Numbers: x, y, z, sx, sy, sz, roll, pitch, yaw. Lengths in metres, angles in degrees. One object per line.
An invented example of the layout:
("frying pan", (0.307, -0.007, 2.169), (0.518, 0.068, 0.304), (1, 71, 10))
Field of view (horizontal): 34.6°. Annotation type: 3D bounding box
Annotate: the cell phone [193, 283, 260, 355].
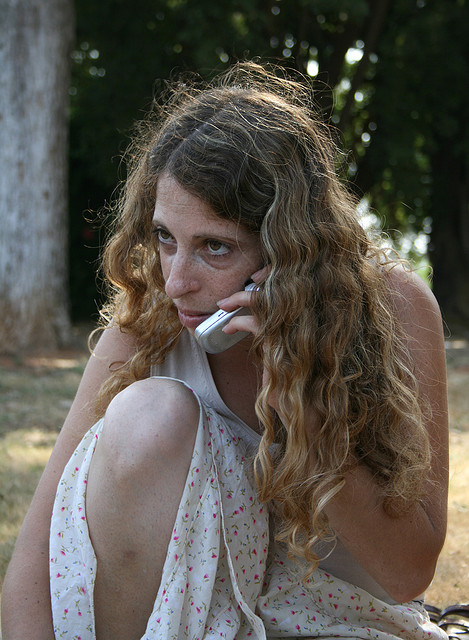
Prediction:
("cell phone", (-0.057, 0.008, 1.774), (0.105, 0.203, 0.044), (43, 16, -48))
